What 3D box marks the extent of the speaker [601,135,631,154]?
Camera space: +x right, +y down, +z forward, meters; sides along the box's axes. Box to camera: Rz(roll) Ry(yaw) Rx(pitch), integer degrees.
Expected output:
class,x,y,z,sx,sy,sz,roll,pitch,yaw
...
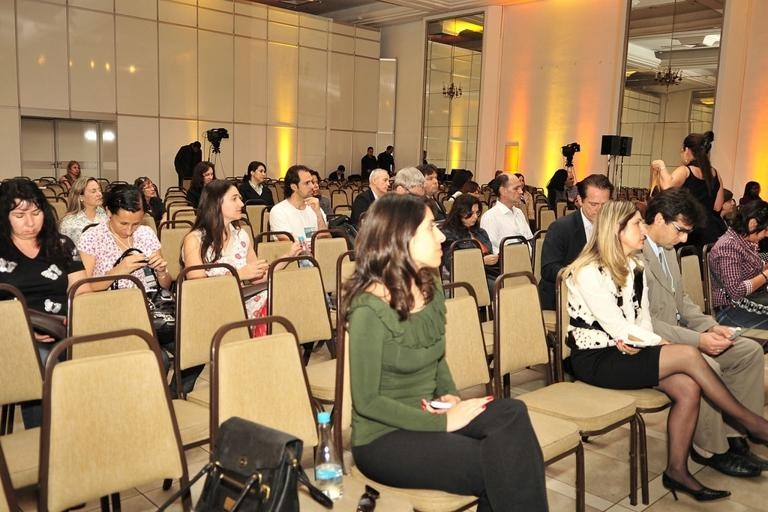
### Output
class,x,y,z,sx,sy,sz,roll,pitch,yaw
speaker,5.414,-2.605,12.857,0.588,0.446,0.324,-2,3,-34

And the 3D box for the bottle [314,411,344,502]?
class,x,y,z,sx,sy,sz,roll,pitch,yaw
bottle,-0.265,0.924,2.568,0.129,0.401,0.138,-3,3,0

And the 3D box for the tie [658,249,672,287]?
class,x,y,z,sx,sy,sz,roll,pitch,yaw
tie,2.078,0.091,4.083,0.035,0.273,0.031,-10,-12,-4

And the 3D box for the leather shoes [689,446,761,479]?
class,x,y,z,sx,sy,sz,roll,pitch,yaw
leather shoes,2.376,1.380,3.849,0.420,0.175,0.184,-2,1,33
